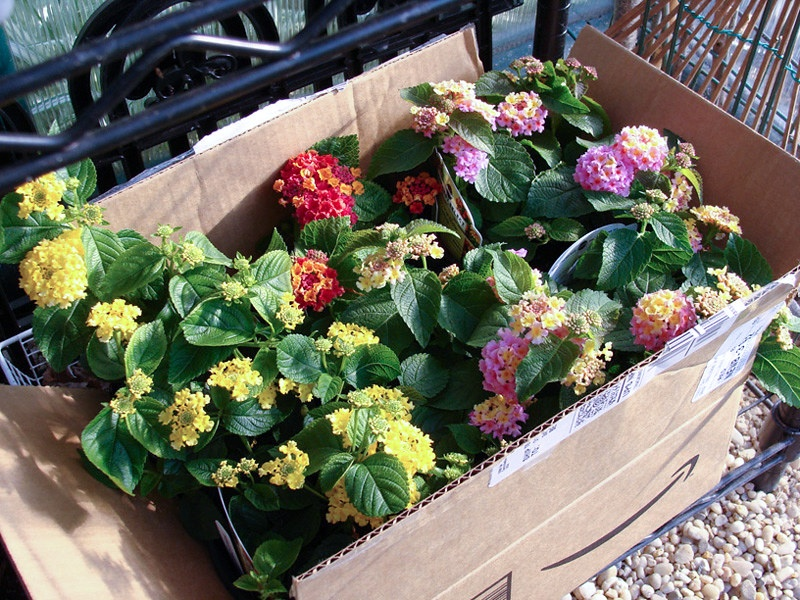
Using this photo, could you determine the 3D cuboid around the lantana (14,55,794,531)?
[{"bbox_3d":[0.052,0.083,2.067,1.890,0.409,1.346,-24,77,-21],"label":"lantana"}]
